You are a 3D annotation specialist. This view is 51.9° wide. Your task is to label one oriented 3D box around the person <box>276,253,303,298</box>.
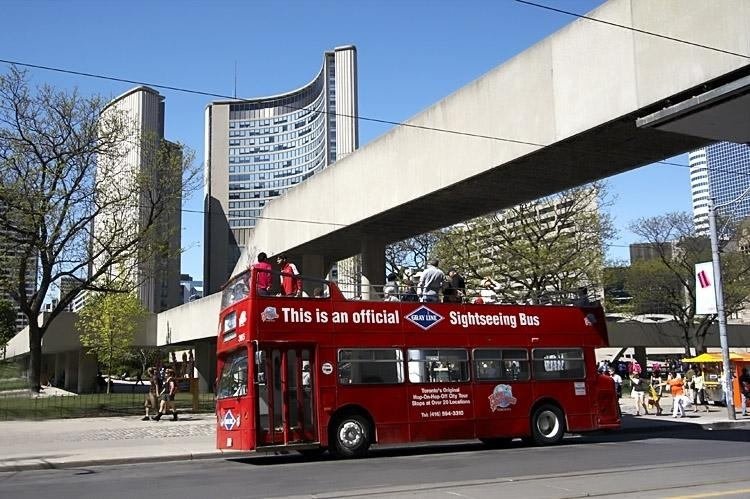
[{"bbox_3d":[-2.808,0.831,25.398,0.643,1.596,1.681,-2,-13,-6],"label":"person"}]
